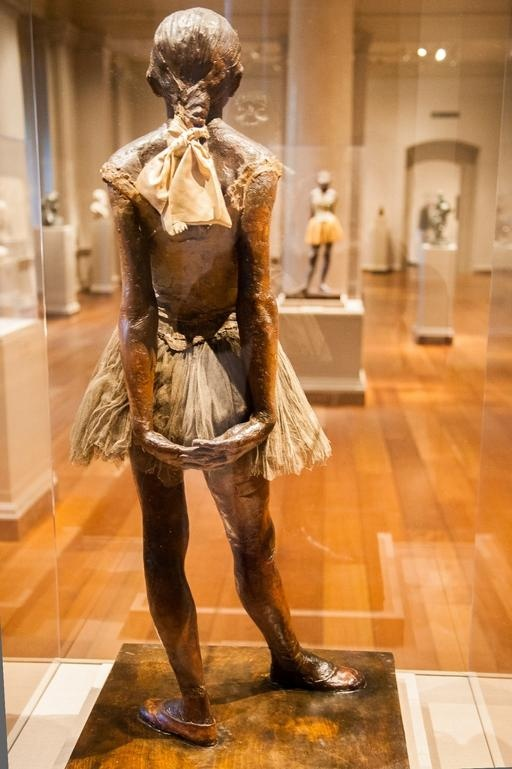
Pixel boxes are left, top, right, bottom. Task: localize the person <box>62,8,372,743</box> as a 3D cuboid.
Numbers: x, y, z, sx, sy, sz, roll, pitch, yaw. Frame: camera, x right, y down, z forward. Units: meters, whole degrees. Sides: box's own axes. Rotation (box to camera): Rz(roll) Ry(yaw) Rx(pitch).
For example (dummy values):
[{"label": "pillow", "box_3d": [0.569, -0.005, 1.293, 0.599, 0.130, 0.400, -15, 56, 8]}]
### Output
[{"label": "person", "box_3d": [-0.068, 0.045, 1.330, 0.522, 1.468, 0.399, -7, 10, -31]}]
